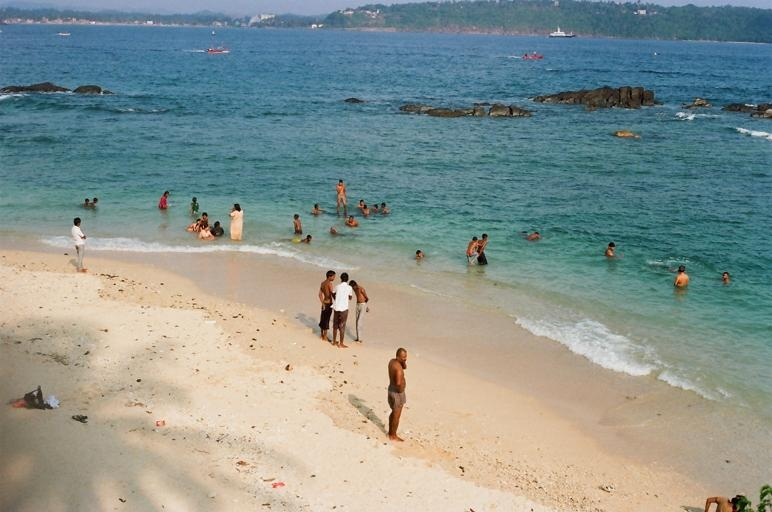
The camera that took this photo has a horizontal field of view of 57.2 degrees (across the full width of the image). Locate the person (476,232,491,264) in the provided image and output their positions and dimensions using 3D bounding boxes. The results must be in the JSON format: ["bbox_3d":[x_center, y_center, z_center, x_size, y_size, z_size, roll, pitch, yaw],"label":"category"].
[{"bbox_3d":[4.754,-0.307,34.545,0.637,1.514,0.661,-5,51,2],"label":"person"}]

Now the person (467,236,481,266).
[{"bbox_3d":[4.129,-0.278,33.905,0.447,1.397,0.661,-9,23,-26],"label":"person"}]

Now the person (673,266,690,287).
[{"bbox_3d":[13.604,0.980,32.583,0.781,0.905,0.576,6,27,22],"label":"person"}]

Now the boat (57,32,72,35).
[{"bbox_3d":[-117.432,-80.433,257.068,3.922,0.086,37.418,-7,20,-25],"label":"boat"}]

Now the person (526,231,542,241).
[{"bbox_3d":[7.803,-1.070,37.298,0.784,0.317,1.192,5,19,11],"label":"person"}]

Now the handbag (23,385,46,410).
[{"bbox_3d":[-11.544,4.715,23.243,0.619,0.344,0.781,-22,61,-16],"label":"handbag"}]
